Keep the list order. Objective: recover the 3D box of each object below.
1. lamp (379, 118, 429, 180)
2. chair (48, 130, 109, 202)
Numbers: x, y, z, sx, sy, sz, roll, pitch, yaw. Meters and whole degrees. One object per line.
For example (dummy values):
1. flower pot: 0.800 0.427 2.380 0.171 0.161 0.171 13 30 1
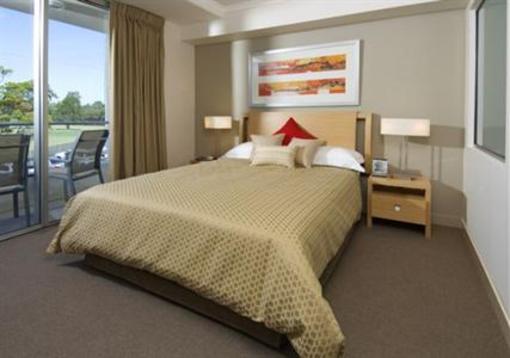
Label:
1. lamp: 1.994 -0.393 4.433 0.732 1.053 0.290 2 4 34
2. chair: -2.522 -0.140 4.693 0.791 1.128 0.710 7 12 16
